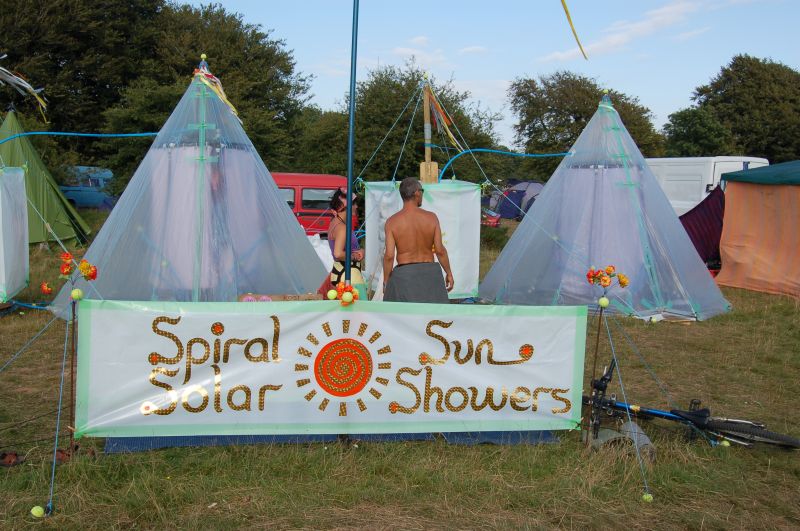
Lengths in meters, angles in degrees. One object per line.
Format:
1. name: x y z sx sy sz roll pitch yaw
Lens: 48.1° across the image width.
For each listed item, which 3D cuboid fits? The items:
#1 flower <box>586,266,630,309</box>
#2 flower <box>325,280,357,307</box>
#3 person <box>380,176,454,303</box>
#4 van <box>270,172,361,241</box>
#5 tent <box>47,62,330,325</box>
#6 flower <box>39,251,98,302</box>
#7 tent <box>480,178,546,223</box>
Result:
1. flower: 3.053 0.298 13.174 0.533 0.707 0.660 0 2 -6
2. flower: -0.694 0.322 10.833 0.280 0.134 0.293 7 -18 -15
3. person: 0.197 -0.359 11.965 0.832 1.599 0.407 0 5 0
4. van: -1.953 -1.389 20.801 2.111 1.474 1.364 -1 5 -8
5. tent: -3.105 -1.019 13.750 3.450 3.242 3.296 0 8 -16
6. flower: -3.903 0.140 10.635 0.439 0.270 0.533 8 43 -20
7. tent: 3.782 -2.340 30.346 2.301 0.903 2.283 13 24 43
